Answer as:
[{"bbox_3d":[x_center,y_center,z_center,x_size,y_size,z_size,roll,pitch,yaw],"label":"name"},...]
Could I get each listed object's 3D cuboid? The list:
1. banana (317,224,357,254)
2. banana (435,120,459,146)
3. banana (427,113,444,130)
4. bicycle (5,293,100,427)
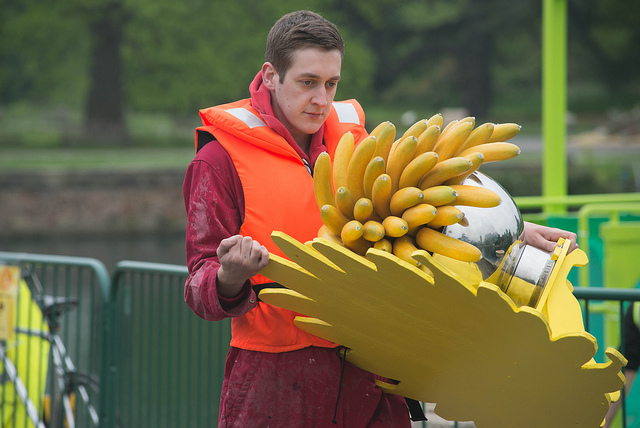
[{"bbox_3d":[0.185,0.349,23.154,0.412,0.235,0.109,32,20,1],"label":"banana"},{"bbox_3d":[1.713,-1.080,23.161,0.070,0.425,0.111,20,-23,38],"label":"banana"},{"bbox_3d":[1.576,-1.262,23.232,0.125,0.250,0.087,48,18,-5],"label":"banana"},{"bbox_3d":[-3.882,2.162,24.763,1.339,1.974,0.925,0,-1,-9],"label":"bicycle"}]
